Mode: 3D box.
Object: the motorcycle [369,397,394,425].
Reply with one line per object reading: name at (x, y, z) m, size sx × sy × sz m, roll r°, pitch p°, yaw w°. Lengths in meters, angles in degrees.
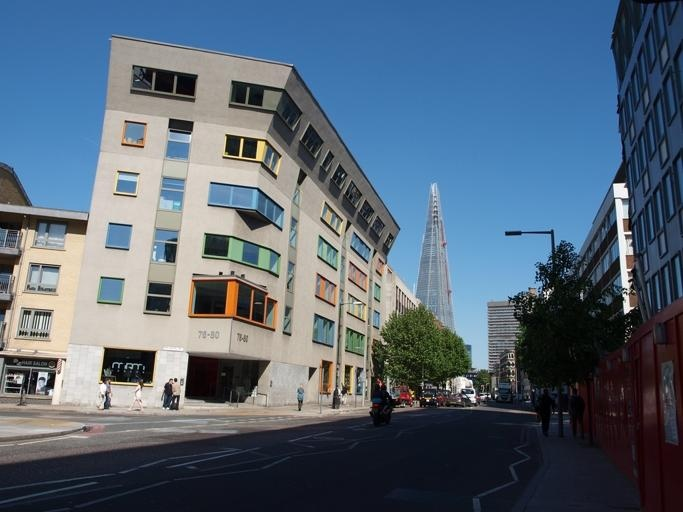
motorcycle at (2.040, 8.018, 26.134) m, size 0.634 × 1.331 × 1.711 m, roll -8°, pitch -20°, yaw 23°
